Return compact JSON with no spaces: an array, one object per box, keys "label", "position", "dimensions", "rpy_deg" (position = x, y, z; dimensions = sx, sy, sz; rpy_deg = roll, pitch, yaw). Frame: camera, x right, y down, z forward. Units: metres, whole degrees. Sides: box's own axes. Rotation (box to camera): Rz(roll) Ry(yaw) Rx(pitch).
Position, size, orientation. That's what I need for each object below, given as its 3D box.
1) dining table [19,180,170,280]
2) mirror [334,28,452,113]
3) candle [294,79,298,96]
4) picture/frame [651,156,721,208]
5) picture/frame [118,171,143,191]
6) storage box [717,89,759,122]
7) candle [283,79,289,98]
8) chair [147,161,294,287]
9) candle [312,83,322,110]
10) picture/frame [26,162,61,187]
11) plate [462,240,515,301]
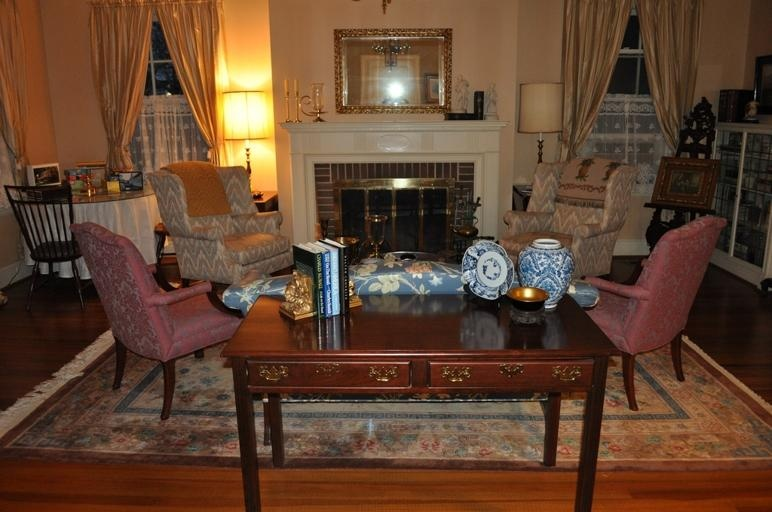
[{"label":"dining table","position":[-3.000,-0.388,6.023],"dimensions":[1.341,0.747,1.294],"rpy_deg":[0,16,-2]},{"label":"mirror","position":[0.076,-2.185,6.513],"dimensions":[1.021,0.684,0.051],"rpy_deg":[0,14,-2]},{"label":"candle","position":[-1.031,-1.930,6.505],"dimensions":[0.057,0.169,0.180],"rpy_deg":[-4,17,-8]},{"label":"picture/frame","position":[3.213,-0.786,6.070],"dimensions":[0.651,0.627,0.065],"rpy_deg":[6,-3,36]},{"label":"picture/frame","position":[-2.939,-0.850,6.506],"dimensions":[0.224,0.181,0.115],"rpy_deg":[1,27,-7]},{"label":"storage box","position":[3.976,-1.694,6.389],"dimensions":[0.285,0.514,0.382],"rpy_deg":[-4,10,-15]},{"label":"candle","position":[-1.142,-1.935,6.505],"dimensions":[0.062,0.193,0.193],"rpy_deg":[-5,17,-9]},{"label":"chair","position":[-1.489,-0.354,6.141],"dimensions":[1.512,1.585,1.325],"rpy_deg":[7,19,20]},{"label":"candle","position":[-0.786,-1.811,6.455],"dimensions":[0.110,0.299,0.130],"rpy_deg":[-1,18,4]},{"label":"picture/frame","position":[-3.864,-0.911,6.382],"dimensions":[0.133,0.291,0.383],"rpy_deg":[10,16,38]},{"label":"plate","position":[0.564,0.086,3.160],"dimensions":[0.274,0.323,0.112],"rpy_deg":[0,18,7]}]
